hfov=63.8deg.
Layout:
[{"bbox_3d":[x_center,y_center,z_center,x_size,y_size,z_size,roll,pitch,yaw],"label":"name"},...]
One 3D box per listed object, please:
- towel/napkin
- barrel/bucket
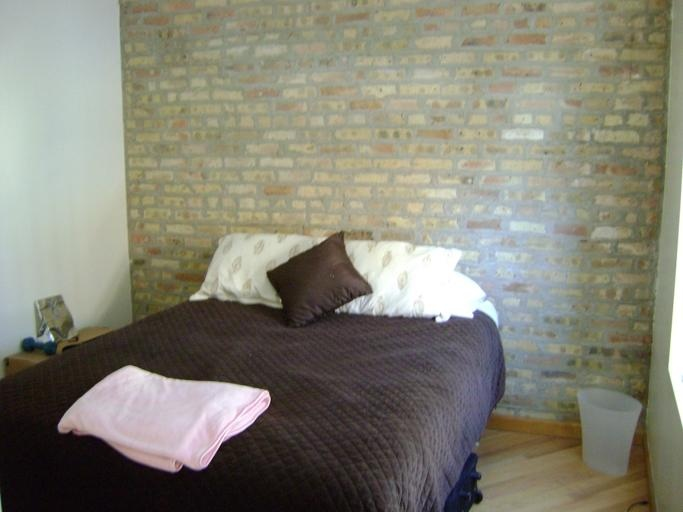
[{"bbox_3d":[-0.668,0.623,2.178,0.525,0.152,0.371,7,14,26],"label":"towel/napkin"},{"bbox_3d":[1.555,1.012,3.219,0.330,0.381,0.375,4,11,24],"label":"barrel/bucket"}]
